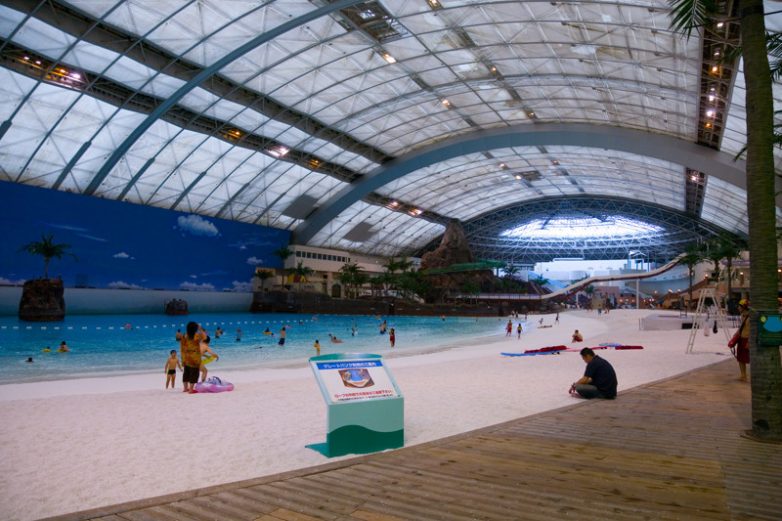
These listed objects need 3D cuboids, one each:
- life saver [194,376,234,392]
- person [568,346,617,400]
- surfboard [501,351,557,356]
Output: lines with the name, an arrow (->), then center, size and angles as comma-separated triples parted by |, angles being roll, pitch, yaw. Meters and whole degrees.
life saver -> -5.889, 4.136, 14.644 | 0.647, 0.190, 0.594 | 4, -5, -43
person -> 5.476, 3.069, 11.889 | 1.313, 1.298, 1.159 | -11, -17, 35
surfboard -> 7.378, 5.005, 23.633 | 2.830, 0.085, 1.795 | -4, -7, 9
